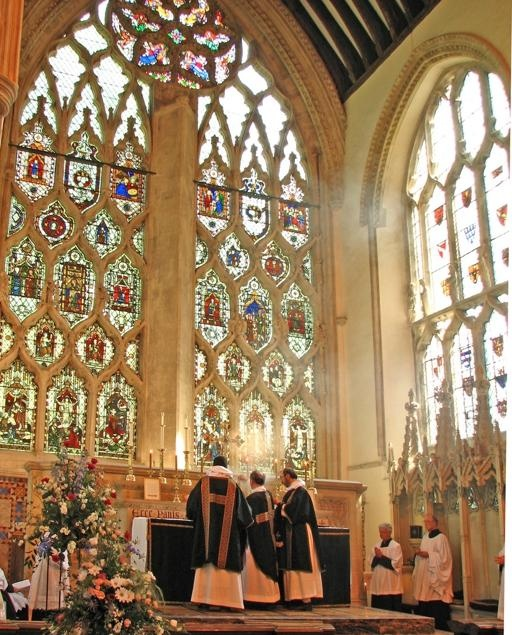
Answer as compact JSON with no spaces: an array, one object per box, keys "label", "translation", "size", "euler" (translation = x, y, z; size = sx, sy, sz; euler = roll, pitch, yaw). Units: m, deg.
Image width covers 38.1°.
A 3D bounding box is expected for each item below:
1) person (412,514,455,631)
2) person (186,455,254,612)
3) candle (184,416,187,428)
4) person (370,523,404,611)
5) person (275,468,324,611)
[{"label":"person","translation":[2.052,2.971,8.704],"size":[0.510,1.252,0.439],"euler":[-11,-17,38]},{"label":"person","translation":[-0.327,1.854,6.488],"size":[0.576,1.261,0.492],"euler":[0,-13,-1]},{"label":"candle","translation":[-1.086,1.625,11.541],"size":[0.051,0.140,0.175],"euler":[2,-14,-8]},{"label":"person","translation":[1.574,3.038,9.012],"size":[0.382,0.985,0.408],"euler":[-2,-13,8]},{"label":"person","translation":[0.386,2.032,6.844],"size":[0.429,1.231,0.363],"euler":[-1,-13,1]}]
